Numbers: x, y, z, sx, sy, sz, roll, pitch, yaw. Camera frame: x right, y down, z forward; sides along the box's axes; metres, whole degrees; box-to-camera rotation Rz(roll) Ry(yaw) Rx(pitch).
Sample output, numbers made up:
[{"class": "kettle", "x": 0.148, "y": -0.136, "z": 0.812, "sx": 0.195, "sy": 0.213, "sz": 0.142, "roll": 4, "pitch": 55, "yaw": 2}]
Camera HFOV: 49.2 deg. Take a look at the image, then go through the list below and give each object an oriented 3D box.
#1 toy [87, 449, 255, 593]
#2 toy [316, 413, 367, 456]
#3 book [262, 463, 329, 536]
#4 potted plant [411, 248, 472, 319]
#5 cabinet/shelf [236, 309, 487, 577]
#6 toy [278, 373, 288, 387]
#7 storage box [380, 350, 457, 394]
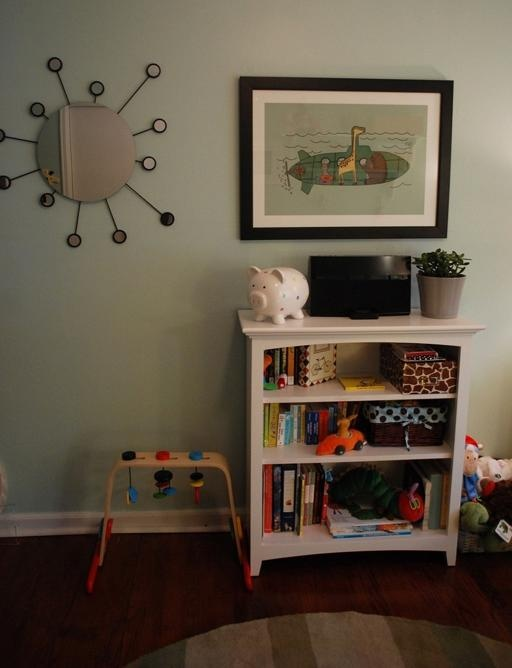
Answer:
[{"class": "toy", "x": -0.304, "y": 0.603, "z": 1.986, "sx": 0.560, "sy": 0.423, "sz": 0.461, "roll": -1, "pitch": 9, "yaw": -6}, {"class": "toy", "x": 0.290, "y": 0.349, "z": 1.962, "sx": 0.174, "sy": 0.121, "sz": 0.093, "roll": -3, "pitch": 7, "yaw": -28}, {"class": "book", "x": 0.111, "y": 0.540, "z": 2.062, "sx": 0.278, "sy": 0.290, "sz": 0.227, "roll": 0, "pitch": 7, "yaw": -14}, {"class": "potted plant", "x": 0.620, "y": -0.167, "z": 1.901, "sx": 0.170, "sy": 0.230, "sz": 0.136, "roll": 5, "pitch": 10, "yaw": 30}, {"class": "cabinet/shelf", "x": 0.363, "y": 0.395, "z": 1.941, "sx": 0.794, "sy": 0.917, "sz": 0.321, "roll": -1, "pitch": 9, "yaw": -4}, {"class": "toy", "x": 0.092, "y": 0.165, "z": 1.927, "sx": 0.025, "sy": 0.045, "sz": 0.044, "roll": 2, "pitch": 3, "yaw": 12}, {"class": "storage box", "x": 0.565, "y": 0.094, "z": 1.917, "sx": 0.139, "sy": 0.097, "sz": 0.203, "roll": -1, "pitch": 10, "yaw": -5}]
